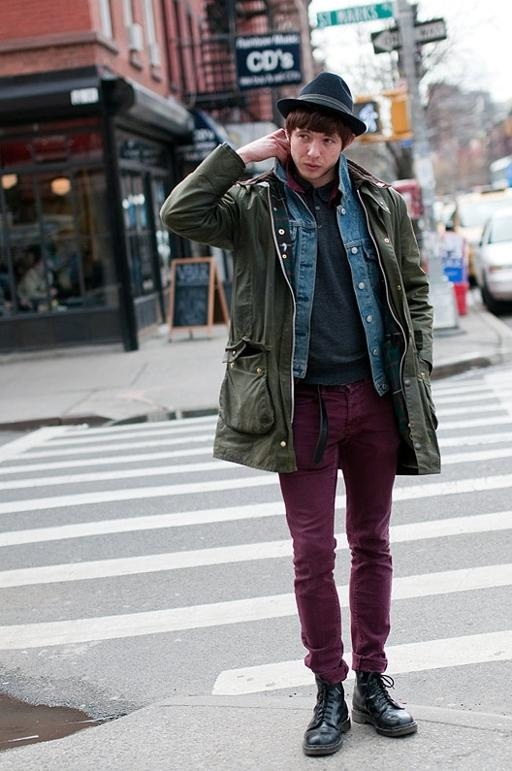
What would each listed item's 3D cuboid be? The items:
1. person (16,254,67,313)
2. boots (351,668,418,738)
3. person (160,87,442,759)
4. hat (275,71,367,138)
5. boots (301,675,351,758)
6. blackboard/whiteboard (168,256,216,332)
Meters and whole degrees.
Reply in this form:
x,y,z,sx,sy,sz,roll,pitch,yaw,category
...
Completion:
x,y,z,sx,sy,sz,roll,pitch,yaw,category
-4.000,-1.923,15.573,0.776,1.102,0.244,-6,7,-9,person
0.360,0.897,2.414,0.106,0.159,0.262,2,-9,-25,boots
0.230,0.055,2.416,0.788,1.863,0.520,-7,7,-18,person
0.196,-0.831,2.429,0.258,0.110,0.294,14,9,3,hat
0.193,0.904,2.281,0.074,0.131,0.215,-4,-6,14,boots
-1.120,-1.687,16.100,0.975,1.448,0.997,5,18,33,blackboard/whiteboard
